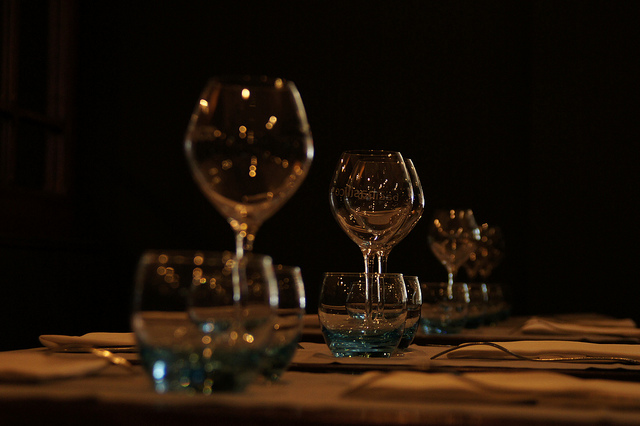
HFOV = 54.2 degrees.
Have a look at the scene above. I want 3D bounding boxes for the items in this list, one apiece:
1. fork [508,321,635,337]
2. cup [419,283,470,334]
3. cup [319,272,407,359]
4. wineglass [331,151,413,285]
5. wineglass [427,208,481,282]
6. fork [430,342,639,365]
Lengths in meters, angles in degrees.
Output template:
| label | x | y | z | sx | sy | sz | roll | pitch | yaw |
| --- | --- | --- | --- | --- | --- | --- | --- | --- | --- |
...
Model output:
| label | x | y | z | sx | sy | sz | roll | pitch | yaw |
| --- | --- | --- | --- | --- | --- | --- | --- | --- | --- |
| fork | 0.479 | 0.224 | 1.203 | 0.224 | 0.020 | 0.086 | 0 | -4 | 15 |
| cup | 0.273 | 0.200 | 1.404 | 0.145 | 0.110 | 0.131 | -1 | -4 | 10 |
| cup | 0.060 | 0.147 | 0.918 | 0.119 | 0.114 | 0.113 | 0 | -2 | 0 |
| wineglass | 0.077 | -0.003 | 0.909 | 0.091 | 0.180 | 0.087 | 4 | -5 | -43 |
| wineglass | 0.331 | 0.079 | 1.559 | 0.112 | 0.179 | 0.210 | 0 | -4 | 22 |
| fork | 0.289 | 0.187 | 0.833 | 0.287 | 0.023 | 0.064 | 1 | -4 | -1 |
